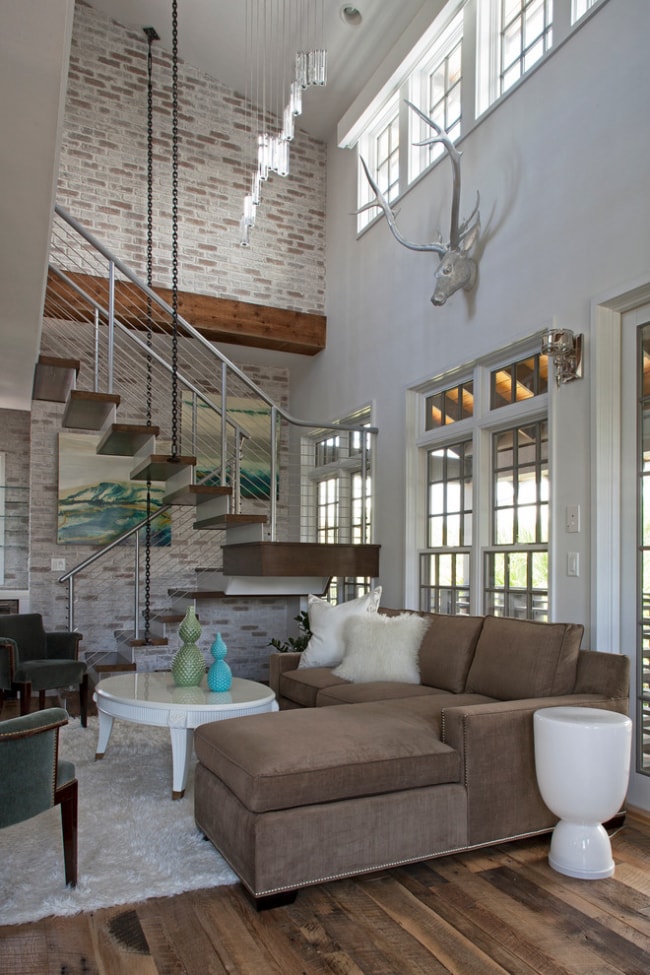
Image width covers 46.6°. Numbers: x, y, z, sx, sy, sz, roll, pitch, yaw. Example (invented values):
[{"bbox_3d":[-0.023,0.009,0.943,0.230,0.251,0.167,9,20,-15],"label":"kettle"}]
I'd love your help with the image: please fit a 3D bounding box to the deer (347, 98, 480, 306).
[{"bbox_3d":[0.589,-1.751,4.955,0.640,1.190,0.858,-2,-2,-27],"label":"deer"}]
